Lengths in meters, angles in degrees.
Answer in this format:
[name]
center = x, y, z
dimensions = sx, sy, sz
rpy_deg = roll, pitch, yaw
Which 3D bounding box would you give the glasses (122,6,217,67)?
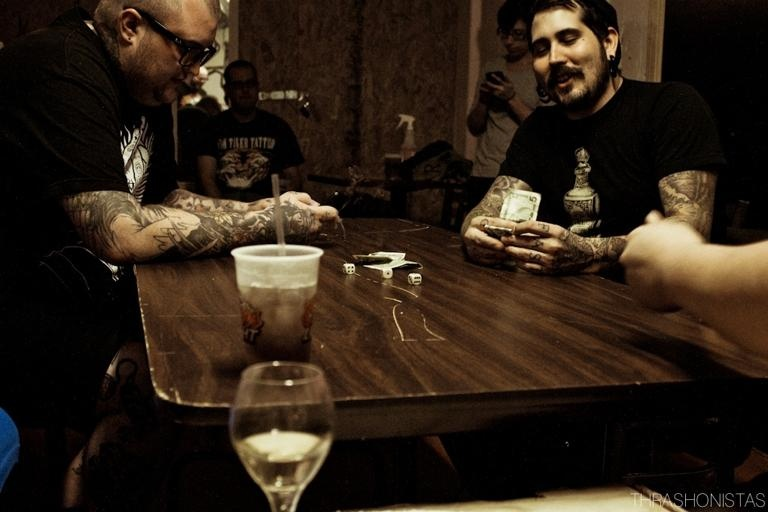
[glasses]
center = -0.756, -0.748, 2.130
dimensions = 0.181, 0.055, 0.180
rpy_deg = 42, 16, 8

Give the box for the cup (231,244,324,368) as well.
[cup]
center = -0.199, 0.075, 1.194
dimensions = 0.229, 0.275, 0.207
rpy_deg = -1, 6, -6

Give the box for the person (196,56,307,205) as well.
[person]
center = -1.072, -0.936, 4.758
dimensions = 0.852, 1.135, 0.722
rpy_deg = -5, 25, -17
